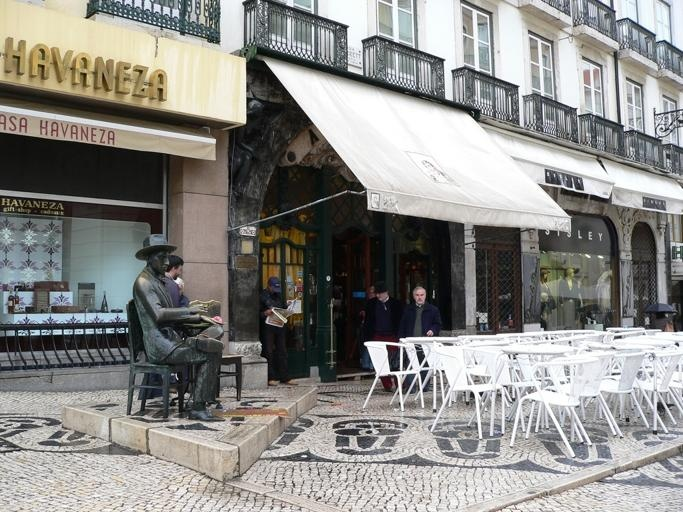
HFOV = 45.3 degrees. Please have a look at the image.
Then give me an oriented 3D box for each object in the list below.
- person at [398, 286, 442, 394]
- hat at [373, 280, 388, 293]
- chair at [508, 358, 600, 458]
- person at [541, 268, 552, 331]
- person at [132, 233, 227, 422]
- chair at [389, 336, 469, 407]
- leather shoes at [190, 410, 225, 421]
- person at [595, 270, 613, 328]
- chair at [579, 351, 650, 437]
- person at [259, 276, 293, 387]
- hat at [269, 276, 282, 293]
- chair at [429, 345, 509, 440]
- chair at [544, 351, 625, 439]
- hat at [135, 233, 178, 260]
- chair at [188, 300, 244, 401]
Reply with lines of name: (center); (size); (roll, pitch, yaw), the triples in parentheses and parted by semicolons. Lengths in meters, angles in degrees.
person: (1.432, 1.551, 15.491); (0.728, 2.069, 0.591); (3, 21, 7)
hat: (0.795, 0.594, 16.026); (0.168, 0.127, 0.217); (1, 8, 38)
chair: (3.011, 1.996, 11.419); (0.867, 1.211, 0.830); (-2, 8, -40)
person: (5.589, 1.179, 22.408); (0.181, 1.667, 0.581); (5, 6, 36)
person: (-2.242, 1.009, 11.329); (1.196, 2.651, 0.973); (-3, -7, -12)
chair: (1.438, 2.021, 14.125); (0.706, 0.966, 0.718); (-3, -9, 20)
leather shoes: (-1.786, 2.125, 11.026); (0.464, 0.215, 0.170); (2, -6, 1)
person: (8.072, 1.297, 24.876); (0.282, 1.698, 1.031); (5, 6, 35)
chair: (4.174, 1.926, 12.286); (0.595, 0.809, 0.672); (4, 3, 2)
person: (-1.259, 1.424, 15.710); (0.613, 2.047, 0.856); (1, 5, 1)
hat: (-1.263, 0.552, 15.605); (0.191, 0.152, 0.286); (-10, 48, -36)
chair: (2.176, 1.996, 12.825); (0.866, 1.197, 0.795); (8, 2, -28)
chair: (3.523, 2.028, 11.871); (1.002, 1.328, 0.862); (-2, 6, -37)
hat: (-2.581, -0.181, 11.325); (0.385, 0.182, 0.444); (-15, -12, -8)
chair: (-1.815, 1.545, 12.779); (0.539, 1.269, 0.637); (-4, -12, 4)
